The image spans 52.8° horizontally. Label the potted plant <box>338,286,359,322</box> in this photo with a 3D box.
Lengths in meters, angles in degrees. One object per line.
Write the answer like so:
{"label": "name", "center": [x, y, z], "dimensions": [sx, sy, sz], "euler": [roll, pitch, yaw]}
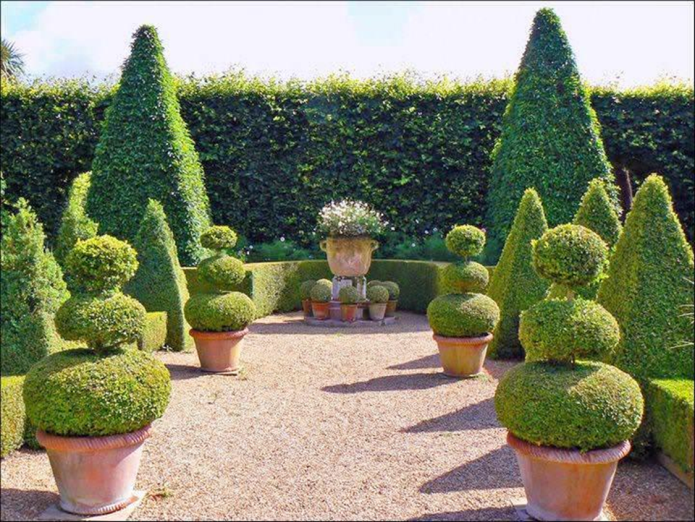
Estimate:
{"label": "potted plant", "center": [0.026, 0.872, 14.015], "dimensions": [0.382, 0.681, 0.333], "euler": [0, 12, -2]}

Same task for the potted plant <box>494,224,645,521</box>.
{"label": "potted plant", "center": [2.156, 1.110, 6.813], "dimensions": [1.262, 2.554, 1.146], "euler": [4, 13, 19]}

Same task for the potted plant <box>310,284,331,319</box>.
{"label": "potted plant", "center": [-0.546, 0.853, 14.270], "dimensions": [0.405, 0.702, 0.400], "euler": [0, 12, -3]}

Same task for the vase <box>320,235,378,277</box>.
{"label": "vase", "center": [0.115, -0.112, 14.536], "dimensions": [0.919, 0.668, 0.843], "euler": [2, 3, 44]}

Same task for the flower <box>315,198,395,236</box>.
{"label": "flower", "center": [0.118, -0.838, 14.505], "dimensions": [1.231, 0.770, 1.256], "euler": [0, 3, -17]}

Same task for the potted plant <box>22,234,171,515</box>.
{"label": "potted plant", "center": [-2.492, 1.108, 6.921], "dimensions": [1.104, 2.522, 1.111], "euler": [9, 15, 34]}

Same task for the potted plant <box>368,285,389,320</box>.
{"label": "potted plant", "center": [0.604, 0.852, 14.284], "dimensions": [0.385, 0.682, 0.470], "euler": [-3, 13, -15]}
